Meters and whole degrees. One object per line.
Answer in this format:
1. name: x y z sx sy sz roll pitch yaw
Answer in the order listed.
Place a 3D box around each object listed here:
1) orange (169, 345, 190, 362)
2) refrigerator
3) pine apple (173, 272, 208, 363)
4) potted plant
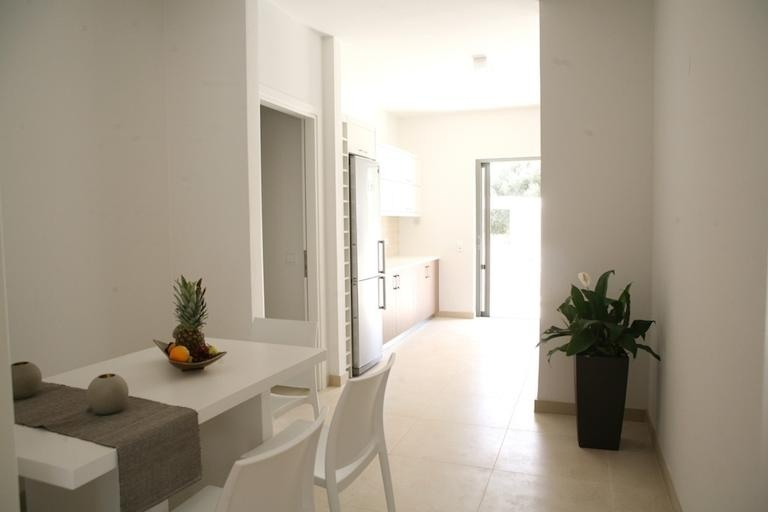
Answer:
1. orange: -1.018 0.476 2.583 0.070 0.053 0.091 5 1 -22
2. refrigerator: -0.191 0.085 5.504 0.302 1.912 0.548 3 9 15
3. pine apple: -0.995 0.336 2.684 0.160 0.426 0.167 0 1 12
4. potted plant: 1.577 0.732 3.863 0.610 1.243 0.643 -1 8 -3
